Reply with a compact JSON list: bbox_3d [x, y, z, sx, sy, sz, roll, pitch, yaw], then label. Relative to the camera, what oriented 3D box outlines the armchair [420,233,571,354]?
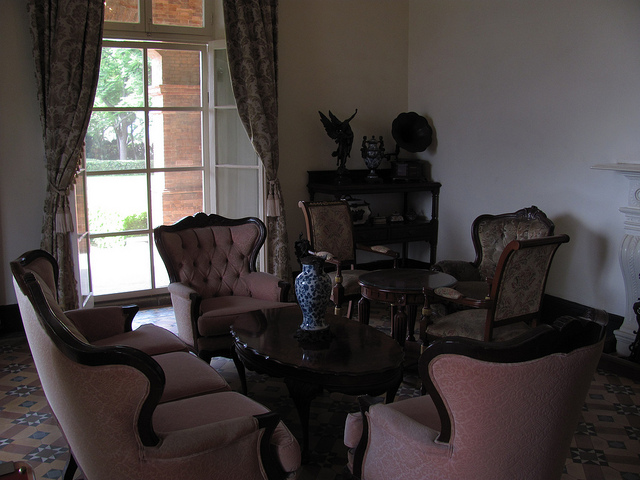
[{"bbox_3d":[1.112,0.477,3.244,0.782,1.024,0.828,0,5,-13],"label":"armchair"}]

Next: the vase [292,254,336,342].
[{"bbox_3d":[-0.042,0.341,2.844,0.294,0.474,0.290,-2,4,-3],"label":"vase"}]

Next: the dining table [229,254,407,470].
[{"bbox_3d":[-0.032,0.620,2.914,0.774,1.019,1.342,-2,6,-33],"label":"dining table"}]

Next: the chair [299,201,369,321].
[{"bbox_3d":[0.212,0.242,4.322,0.654,1.137,0.720,-7,11,-37],"label":"chair"}]

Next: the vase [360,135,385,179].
[{"bbox_3d":[0.576,-0.899,5.328,0.229,0.454,0.305,-3,9,7],"label":"vase"}]

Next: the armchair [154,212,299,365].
[{"bbox_3d":[-0.681,0.364,3.551,0.930,1.052,0.940,-1,8,-1],"label":"armchair"}]
